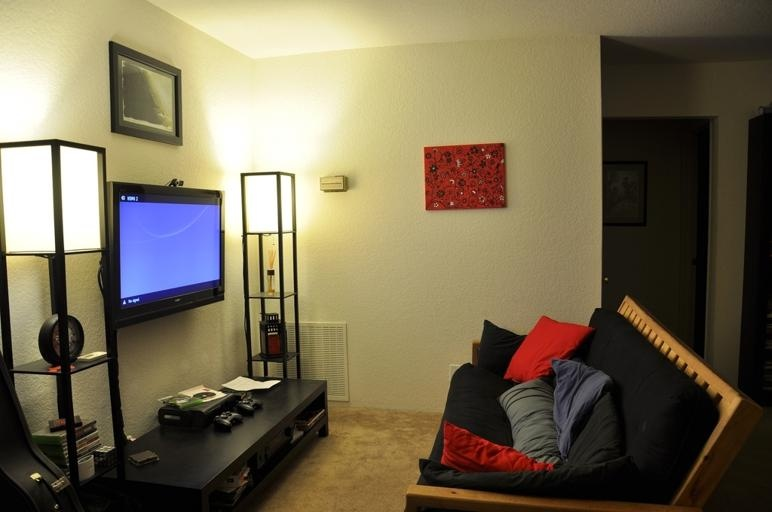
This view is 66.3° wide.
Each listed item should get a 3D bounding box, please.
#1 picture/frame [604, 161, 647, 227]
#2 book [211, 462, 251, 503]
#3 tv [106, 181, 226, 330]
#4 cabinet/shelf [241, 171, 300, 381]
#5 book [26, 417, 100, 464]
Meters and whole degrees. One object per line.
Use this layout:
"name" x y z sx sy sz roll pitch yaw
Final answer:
"picture/frame" 2.722 -0.701 6.718 0.493 0.723 0.245 0 14 8
"book" -1.013 1.494 3.908 0.188 0.074 0.249 -1 3 -3
"tv" -1.621 -0.019 4.263 0.132 0.941 1.236 0 0 21
"cabinet/shelf" -1.037 0.220 5.315 0.559 1.933 0.834 -4 14 -9
"book" -1.891 1.102 3.505 0.269 0.093 0.284 3 6 22
